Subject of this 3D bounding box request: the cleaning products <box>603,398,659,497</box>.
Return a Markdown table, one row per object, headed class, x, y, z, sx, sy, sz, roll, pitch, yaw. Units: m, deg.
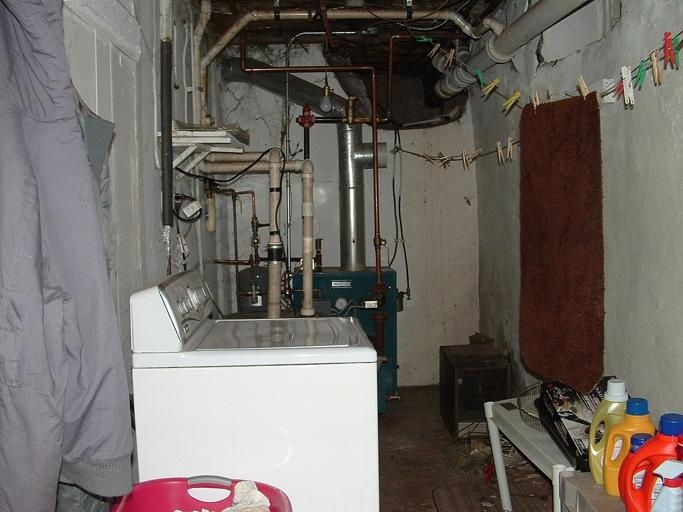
| class | x | y | z | sx | sy | sz | roll | pitch | yaw |
| --- | --- | --- | --- | --- | --- | --- | --- | --- | --- |
| cleaning products | 0.965 | 0.653 | 2.191 | 0.162 | 0.369 | 0.088 | 1 | 18 | 11 |
